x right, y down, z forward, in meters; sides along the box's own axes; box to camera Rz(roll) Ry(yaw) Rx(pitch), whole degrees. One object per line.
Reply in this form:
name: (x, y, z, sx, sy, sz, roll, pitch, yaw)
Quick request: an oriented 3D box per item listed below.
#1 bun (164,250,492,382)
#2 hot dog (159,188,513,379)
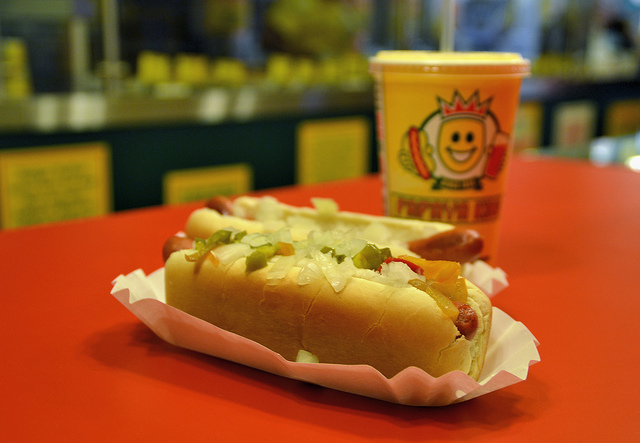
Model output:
bun: (0.011, 0.049, 0.615, 0.302, 0.085, 0.143, 14, 15, 23)
hot dog: (-0.008, 0.056, 0.672, 0.410, 0.135, 0.239, 13, 18, 25)
